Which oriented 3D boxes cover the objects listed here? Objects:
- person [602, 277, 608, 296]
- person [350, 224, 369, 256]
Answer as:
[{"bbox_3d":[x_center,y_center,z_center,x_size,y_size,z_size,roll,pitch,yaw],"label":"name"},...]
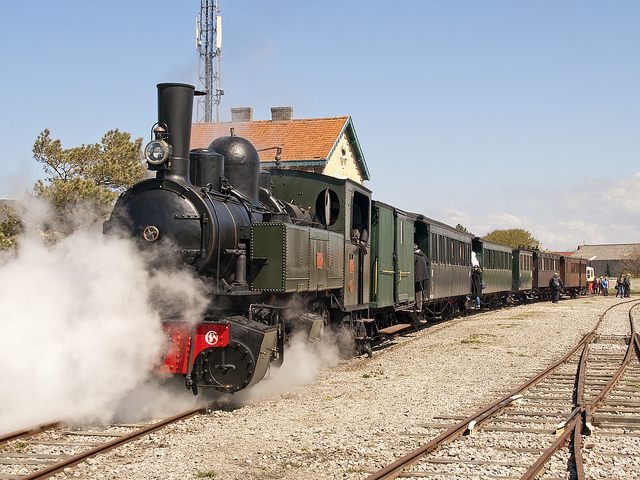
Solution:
[{"bbox_3d":[19.926,3.316,45.099,0.228,1.133,1.569,-2,-1,20],"label":"person"},{"bbox_3d":[0.846,0.016,13.986,0.416,0.368,0.764,18,20,0],"label":"person"}]
